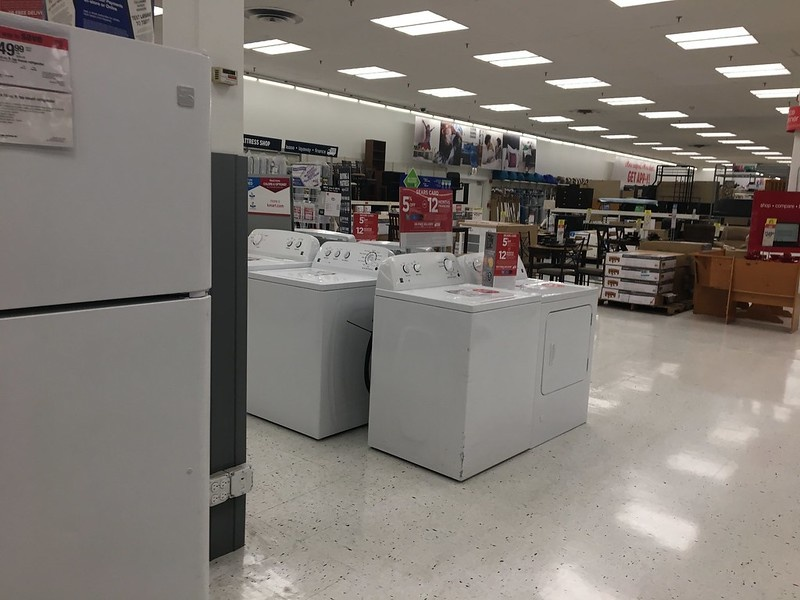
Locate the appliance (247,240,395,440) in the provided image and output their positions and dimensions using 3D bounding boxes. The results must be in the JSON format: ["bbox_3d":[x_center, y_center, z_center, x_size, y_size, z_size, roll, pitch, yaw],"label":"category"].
[{"bbox_3d":[-0.604,0.213,4.120,0.916,1.273,0.961,-1,9,-39],"label":"appliance"}]

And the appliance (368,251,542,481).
[{"bbox_3d":[0.355,0.361,3.591,0.901,1.238,0.746,9,13,33],"label":"appliance"}]

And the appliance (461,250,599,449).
[{"bbox_3d":[0.941,0.349,4.138,0.724,1.363,0.715,-10,14,-43],"label":"appliance"}]

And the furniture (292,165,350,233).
[{"bbox_3d":[-1.327,-1.686,9.108,0.883,1.170,1.162,-9,17,-23],"label":"furniture"}]

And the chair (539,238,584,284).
[{"bbox_3d":[2.788,-0.602,9.624,0.624,1.053,0.659,-2,9,-31],"label":"chair"}]
